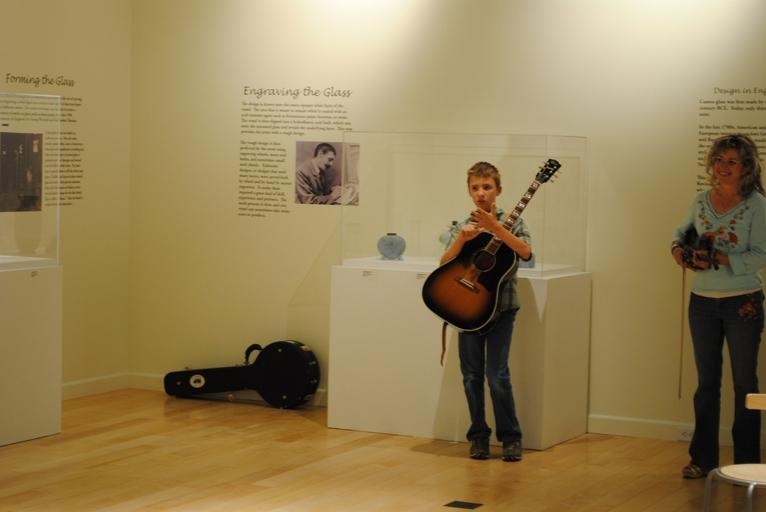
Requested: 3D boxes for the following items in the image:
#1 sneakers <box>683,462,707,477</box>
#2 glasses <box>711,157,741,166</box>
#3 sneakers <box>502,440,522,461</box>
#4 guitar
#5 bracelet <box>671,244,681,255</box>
[{"bbox_3d":[2.175,1.491,4.300,0.137,0.084,0.053,3,48,19],"label":"sneakers"},{"bbox_3d":[2.371,-0.650,4.254,0.182,0.074,0.044,3,4,32],"label":"glasses"},{"bbox_3d":[0.963,1.444,4.582,0.142,0.130,0.118,1,3,6],"label":"sneakers"},{"bbox_3d":[0.794,-0.042,4.516,0.514,1.314,0.175,31,9,19],"label":"guitar"},{"bbox_3d":[2.127,-0.052,4.479,0.048,0.039,0.052,0,-4,2],"label":"bracelet"}]
